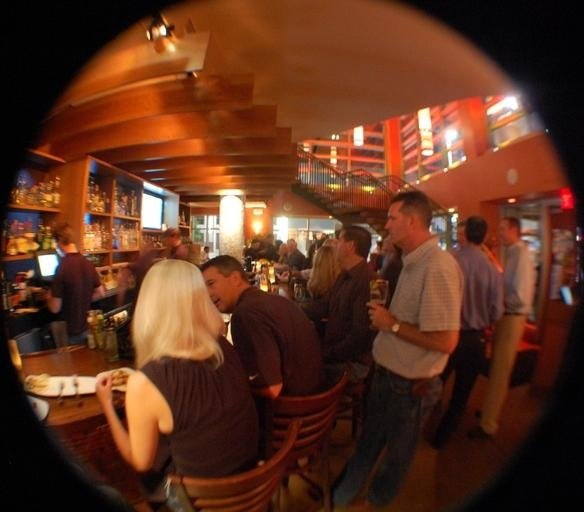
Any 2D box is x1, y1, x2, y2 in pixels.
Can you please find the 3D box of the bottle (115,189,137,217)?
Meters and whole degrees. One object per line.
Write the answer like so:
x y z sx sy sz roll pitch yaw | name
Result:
-2.187 -0.686 5.669 0.125 0.391 0.408 2 -1 14 | bottle

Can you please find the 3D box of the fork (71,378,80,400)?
-1.126 0.694 2.253 0.032 0.109 0.042 -1 -7 -14 | fork

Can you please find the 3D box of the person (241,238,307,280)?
-0.460 0.086 8.858 1.089 0.728 0.654 -2 4 -14 | person

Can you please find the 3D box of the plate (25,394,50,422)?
-1.264 0.742 2.160 0.090 0.121 0.200 -2 3 -31 | plate

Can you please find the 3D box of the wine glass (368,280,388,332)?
0.484 0.272 2.469 0.101 0.275 0.207 0 2 10 | wine glass

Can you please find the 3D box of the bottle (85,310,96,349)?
-1.349 0.489 2.898 0.051 0.239 0.172 -2 2 -25 | bottle

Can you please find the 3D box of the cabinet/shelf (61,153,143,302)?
-2.018 -0.313 4.539 0.425 1.792 1.528 -1 -3 -3 | cabinet/shelf

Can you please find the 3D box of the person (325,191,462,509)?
0.599 0.610 2.540 0.743 1.989 0.438 0 2 28 | person

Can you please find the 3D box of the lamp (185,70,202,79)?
-0.761 -1.389 3.308 0.079 0.028 0.081 -2 4 -20 | lamp

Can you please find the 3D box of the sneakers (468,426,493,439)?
1.469 1.393 3.404 0.149 0.069 0.081 -3 -3 6 | sneakers

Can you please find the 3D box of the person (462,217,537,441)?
1.628 0.564 3.336 0.417 1.722 0.254 1 2 34 | person

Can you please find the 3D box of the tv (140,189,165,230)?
-2.173 -0.735 6.800 0.036 0.678 1.074 1 1 -42 | tv

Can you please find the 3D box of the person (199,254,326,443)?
-0.231 0.662 2.697 0.701 1.381 0.572 5 21 22 | person

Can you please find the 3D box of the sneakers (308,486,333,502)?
0.175 1.546 2.790 0.134 0.049 0.097 2 -12 37 | sneakers

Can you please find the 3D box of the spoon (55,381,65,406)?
-1.190 0.703 2.220 0.035 0.126 0.035 4 -6 -17 | spoon

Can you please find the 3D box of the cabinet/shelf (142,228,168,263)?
-1.872 -0.116 5.656 0.144 0.414 0.429 -22 21 -33 | cabinet/shelf

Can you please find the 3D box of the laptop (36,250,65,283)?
-2.127 0.098 3.781 0.143 0.283 0.273 1 2 11 | laptop

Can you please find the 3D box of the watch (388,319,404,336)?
0.560 0.392 2.354 0.044 0.071 0.070 12 -23 23 | watch

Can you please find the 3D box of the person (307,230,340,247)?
0.702 -0.465 10.832 0.694 0.193 0.752 3 -3 -37 | person
